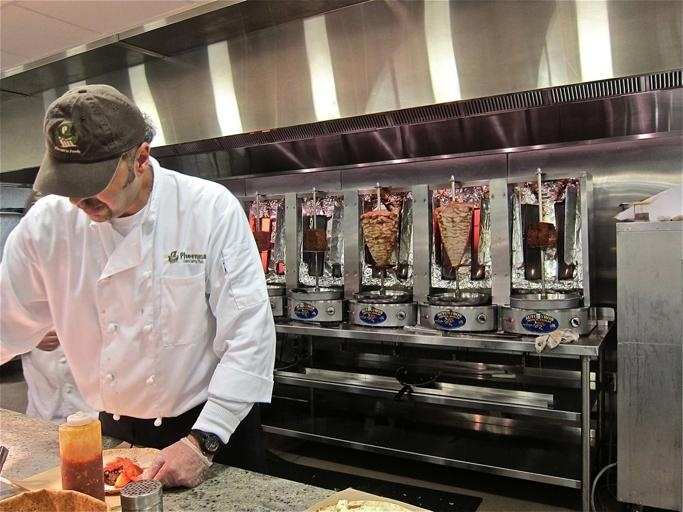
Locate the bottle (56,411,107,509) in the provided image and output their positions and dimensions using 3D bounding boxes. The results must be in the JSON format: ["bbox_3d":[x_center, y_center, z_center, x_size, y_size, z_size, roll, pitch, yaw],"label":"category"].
[{"bbox_3d":[-0.724,0.571,1.350,0.110,0.269,0.208,-5,5,-31],"label":"bottle"}]

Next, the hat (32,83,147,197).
[{"bbox_3d":[-0.725,-0.366,1.527,0.268,0.196,0.374,18,45,6],"label":"hat"}]
